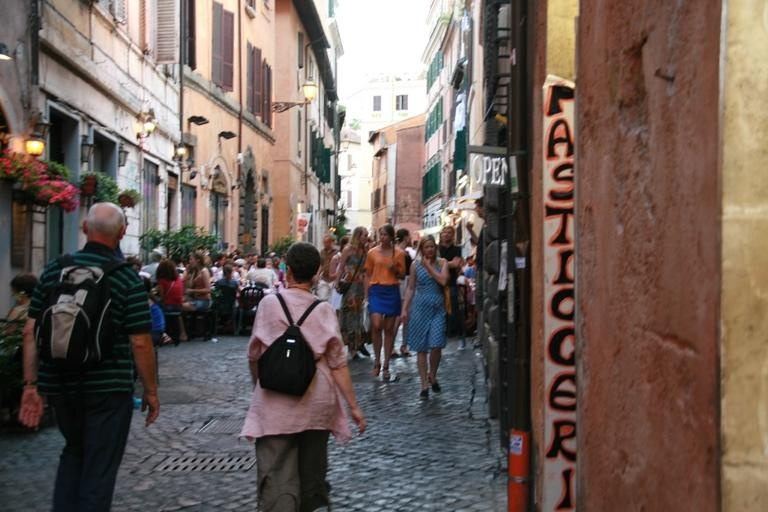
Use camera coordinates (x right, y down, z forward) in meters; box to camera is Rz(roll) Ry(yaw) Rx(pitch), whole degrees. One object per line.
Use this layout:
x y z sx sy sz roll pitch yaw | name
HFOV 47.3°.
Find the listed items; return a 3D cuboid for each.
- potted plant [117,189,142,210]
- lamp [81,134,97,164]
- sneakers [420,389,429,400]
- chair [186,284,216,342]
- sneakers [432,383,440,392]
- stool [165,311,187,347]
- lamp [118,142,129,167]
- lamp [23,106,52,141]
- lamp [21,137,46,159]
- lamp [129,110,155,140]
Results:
-4.367 -0.969 14.880 0.397 0.337 0.424 -1 -1 16 | potted plant
-5.068 -1.825 14.933 0.189 0.508 0.356 1 -5 -17 | lamp
0.464 1.580 10.010 0.062 0.078 0.219 0 26 5 | sneakers
-3.338 1.117 15.954 0.629 1.009 0.722 0 -1 1 | chair
0.603 1.537 10.261 0.079 0.085 0.197 0 -5 1 | sneakers
-3.666 1.211 14.957 0.440 0.638 0.489 -2 -3 -7 | stool
-5.062 -1.948 16.994 0.154 0.472 0.343 0 -5 -13 | lamp
-5.088 -1.922 12.905 0.301 0.637 1.039 1 -5 -21 | lamp
-4.999 -1.527 12.552 0.241 0.297 0.261 0 6 2 | lamp
-5.030 -2.771 18.564 0.332 0.748 0.688 0 -5 -6 | lamp
